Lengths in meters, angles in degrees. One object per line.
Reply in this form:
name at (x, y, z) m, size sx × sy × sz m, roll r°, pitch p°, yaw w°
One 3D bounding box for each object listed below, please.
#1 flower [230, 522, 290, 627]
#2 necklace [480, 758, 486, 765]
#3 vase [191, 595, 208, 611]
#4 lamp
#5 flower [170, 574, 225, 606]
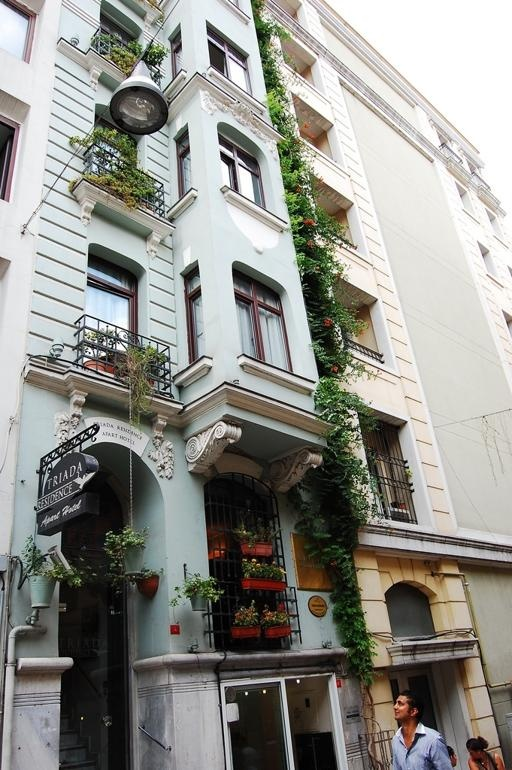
flower at (0.024, 2.930, 8.932) m, size 0.778 × 1.544 × 1.279 m, roll -9°, pitch -29°, yaw 2°
necklace at (2.772, 4.593, 7.129) m, size 0.075 × 0.069 × 0.020 m, roll 17°, pitch -37°, yaw -26°
vase at (-0.767, 2.866, 7.790) m, size 0.234 × 0.186 × 0.223 m, roll 17°, pitch -43°, yaw -25°
lamp at (-1.854, -4.624, 9.081) m, size 0.827 × 1.229 × 0.893 m, roll 0°, pitch -30°, yaw -14°
flower at (-0.814, 2.684, 7.782) m, size 0.681 × 0.425 × 0.481 m, roll -1°, pitch -30°, yaw -13°
